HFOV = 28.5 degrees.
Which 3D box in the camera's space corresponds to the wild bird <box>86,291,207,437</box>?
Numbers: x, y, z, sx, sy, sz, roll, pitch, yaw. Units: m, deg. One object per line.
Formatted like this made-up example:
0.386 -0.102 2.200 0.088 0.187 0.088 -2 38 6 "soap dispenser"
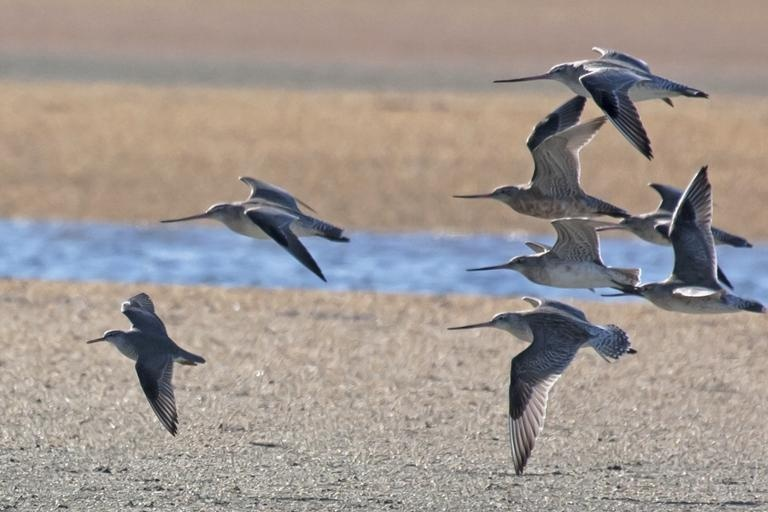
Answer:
-3.711 1.440 23.457 1.811 0.692 1.943 1 33 -9 "wild bird"
